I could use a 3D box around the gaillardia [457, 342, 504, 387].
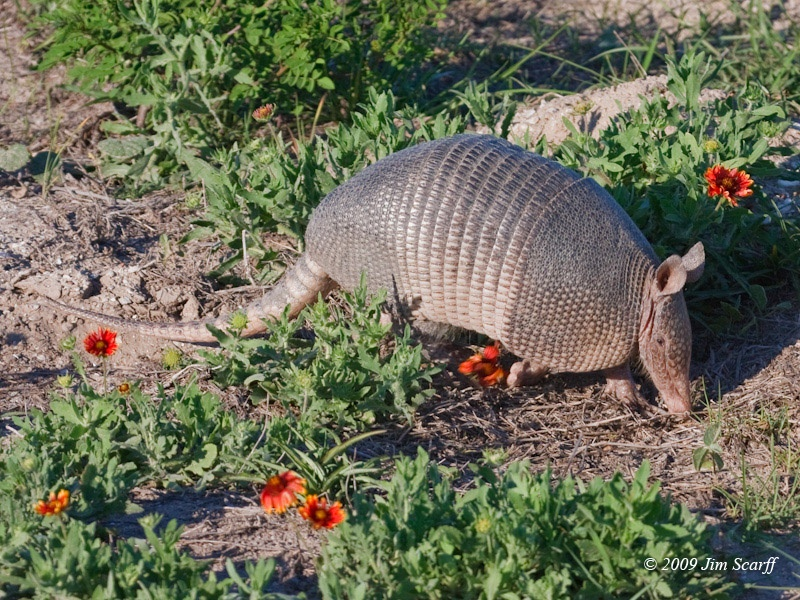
[{"bbox_3d":[0.409,0.312,4.334,0.195,0.071,0.199,32,81,4],"label":"gaillardia"}]

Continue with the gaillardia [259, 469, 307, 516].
[{"bbox_3d":[-0.387,0.676,3.230,0.152,0.069,0.150,-42,34,-15],"label":"gaillardia"}]

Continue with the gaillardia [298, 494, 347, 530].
[{"bbox_3d":[-0.279,0.756,3.213,0.145,0.053,0.144,6,36,-12],"label":"gaillardia"}]

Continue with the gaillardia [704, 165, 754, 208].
[{"bbox_3d":[1.462,-0.488,4.120,0.196,0.184,0.072,-22,59,-19],"label":"gaillardia"}]
